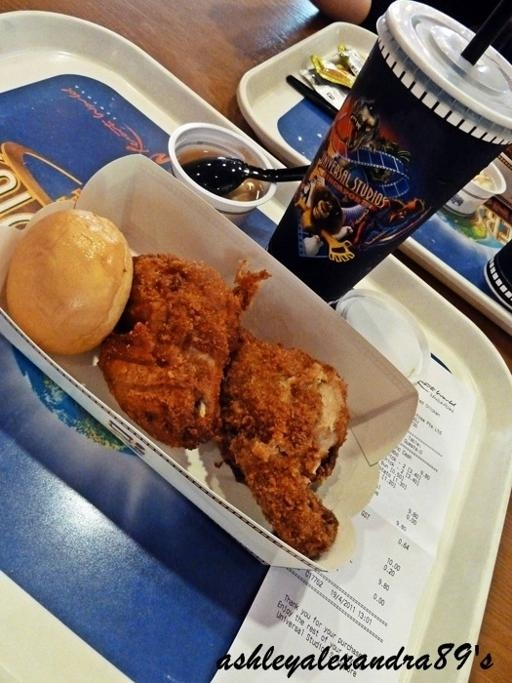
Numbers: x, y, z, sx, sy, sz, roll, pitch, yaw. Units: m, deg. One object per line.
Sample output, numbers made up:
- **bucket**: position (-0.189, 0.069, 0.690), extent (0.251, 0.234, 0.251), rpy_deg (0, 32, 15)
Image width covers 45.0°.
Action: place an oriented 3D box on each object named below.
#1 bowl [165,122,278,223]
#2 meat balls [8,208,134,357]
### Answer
- **bowl**: position (-0.066, -0.292, 1.072), extent (0.200, 0.070, 0.190), rpy_deg (20, 43, -20)
- **meat balls**: position (-0.241, -0.075, 0.804), extent (0.156, 0.119, 0.179), rpy_deg (10, 58, -11)
